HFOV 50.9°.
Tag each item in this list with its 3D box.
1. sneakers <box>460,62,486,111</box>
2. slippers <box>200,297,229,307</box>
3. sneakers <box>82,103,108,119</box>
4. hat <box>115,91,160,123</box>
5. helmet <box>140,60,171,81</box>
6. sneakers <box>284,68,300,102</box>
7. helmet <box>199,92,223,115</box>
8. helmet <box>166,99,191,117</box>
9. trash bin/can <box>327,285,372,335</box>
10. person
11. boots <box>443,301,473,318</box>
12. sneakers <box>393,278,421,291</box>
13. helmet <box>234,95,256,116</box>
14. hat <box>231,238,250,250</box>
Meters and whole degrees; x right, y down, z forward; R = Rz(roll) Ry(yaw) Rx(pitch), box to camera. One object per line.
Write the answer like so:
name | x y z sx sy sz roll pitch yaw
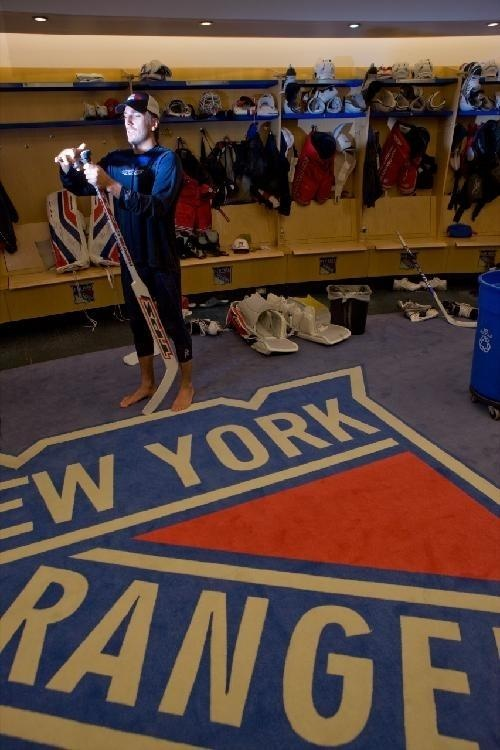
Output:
sneakers | 2.300 -2.980 5.445 0.148 0.471 0.278 -4 23 -13
slippers | -0.353 -0.752 5.266 0.225 0.100 0.114 -6 11 -13
sneakers | -1.356 -2.305 4.611 0.238 0.149 0.206 0 34 -14
hat | -0.561 -1.360 2.660 0.170 0.129 0.259 -2 24 7
helmet | -0.820 -2.640 4.613 0.221 0.176 0.236 13 27 17
sneakers | 0.412 -2.846 5.171 0.131 0.306 0.338 7 26 26
helmet | -0.373 -2.560 4.983 0.172 0.237 0.220 0 6 -9
helmet | -0.661 -2.470 4.906 0.156 0.116 0.225 -3 44 -10
trash bin/can | 0.805 -0.567 4.480 0.358 0.470 0.398 1 11 11
person | -0.595 -0.584 2.894 0.638 1.719 0.664 -23 28 -38
boots | 1.918 -0.582 4.793 0.113 0.150 0.325 -12 23 -15
sneakers | 1.701 -0.978 5.791 0.347 0.151 0.129 9 31 21
helmet | -0.050 -2.621 5.130 0.209 0.182 0.218 -4 23 2
hat | -0.111 -1.332 5.439 0.181 0.125 0.140 2 24 16
